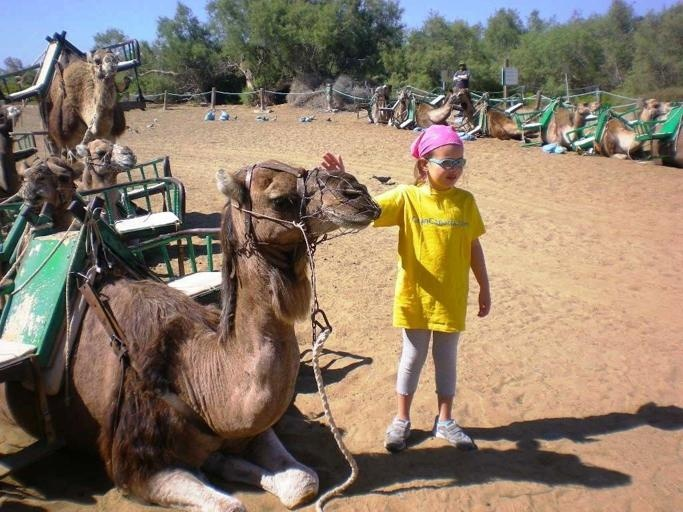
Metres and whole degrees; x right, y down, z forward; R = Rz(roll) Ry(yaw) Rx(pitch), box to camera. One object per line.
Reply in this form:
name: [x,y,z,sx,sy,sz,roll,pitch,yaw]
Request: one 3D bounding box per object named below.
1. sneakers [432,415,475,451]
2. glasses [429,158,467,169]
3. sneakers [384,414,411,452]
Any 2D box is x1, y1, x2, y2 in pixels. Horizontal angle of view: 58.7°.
sneakers: [0.909,1.445,5.020,0.149,0.168,0.417,-3,9,-37]
glasses: [0.794,-0.693,4.611,0.277,0.081,0.101,-1,11,3]
sneakers: [0.441,1.450,4.932,0.125,0.142,0.355,3,1,11]
